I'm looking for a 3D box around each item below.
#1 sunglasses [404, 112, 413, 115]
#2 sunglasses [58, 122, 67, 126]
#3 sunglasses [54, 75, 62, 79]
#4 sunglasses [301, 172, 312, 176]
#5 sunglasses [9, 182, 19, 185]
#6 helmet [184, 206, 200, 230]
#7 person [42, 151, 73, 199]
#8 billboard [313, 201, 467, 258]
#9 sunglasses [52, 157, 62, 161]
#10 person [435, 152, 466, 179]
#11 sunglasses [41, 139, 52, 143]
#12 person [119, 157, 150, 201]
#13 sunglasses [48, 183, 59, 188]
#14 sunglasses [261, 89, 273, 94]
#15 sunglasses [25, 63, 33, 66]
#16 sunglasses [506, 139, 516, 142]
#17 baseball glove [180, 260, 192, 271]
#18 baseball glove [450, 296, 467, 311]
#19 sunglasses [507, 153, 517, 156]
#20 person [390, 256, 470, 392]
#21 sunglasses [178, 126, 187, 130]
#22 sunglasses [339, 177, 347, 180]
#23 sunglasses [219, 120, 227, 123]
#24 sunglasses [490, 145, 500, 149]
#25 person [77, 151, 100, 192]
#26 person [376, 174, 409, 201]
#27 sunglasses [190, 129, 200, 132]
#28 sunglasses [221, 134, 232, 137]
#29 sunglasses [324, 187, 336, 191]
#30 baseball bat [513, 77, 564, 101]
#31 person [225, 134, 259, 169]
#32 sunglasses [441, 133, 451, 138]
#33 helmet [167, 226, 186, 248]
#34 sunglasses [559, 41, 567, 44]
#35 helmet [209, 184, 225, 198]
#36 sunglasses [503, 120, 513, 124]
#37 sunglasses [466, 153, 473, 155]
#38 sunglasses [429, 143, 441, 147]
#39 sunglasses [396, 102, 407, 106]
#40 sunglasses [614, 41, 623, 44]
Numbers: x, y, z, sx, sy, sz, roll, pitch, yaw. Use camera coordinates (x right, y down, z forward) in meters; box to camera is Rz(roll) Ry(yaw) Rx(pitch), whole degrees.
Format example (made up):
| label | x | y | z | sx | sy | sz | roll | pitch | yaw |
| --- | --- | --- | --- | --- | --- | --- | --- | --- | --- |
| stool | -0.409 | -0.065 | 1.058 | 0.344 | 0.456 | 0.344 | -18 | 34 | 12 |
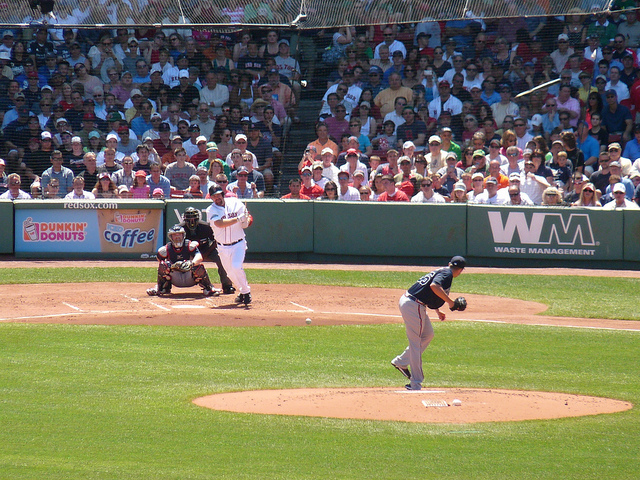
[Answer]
| label | x | y | z | sx | sy | sz | roll | pitch | yaw |
| --- | --- | --- | --- | --- | --- | --- | --- | --- | --- |
| sunglasses | 2.212 | -3.236 | 36.292 | 0.205 | 0.054 | 0.060 | 1 | 3 | -15 |
| sunglasses | -6.704 | -3.008 | 36.842 | 0.219 | 0.086 | 0.115 | 1 | 3 | 0 |
| sunglasses | -7.058 | -4.390 | 38.224 | 0.197 | 0.093 | 0.089 | 1 | 3 | -10 |
| sunglasses | -0.368 | -1.598 | 34.920 | 0.199 | 0.111 | 0.101 | 1 | 3 | -1 |
| sunglasses | -7.532 | -1.384 | 34.985 | 0.209 | 0.050 | 0.063 | 1 | 3 | -15 |
| helmet | -2.846 | -0.466 | 31.243 | 0.322 | 0.436 | 0.438 | -2 | 5 | -4 |
| person | -6.546 | -1.342 | 35.447 | 0.751 | 1.632 | 0.470 | -2 | -18 | -11 |
| billboard | 1.764 | -0.259 | 34.435 | 3.502 | 1.302 | 0.272 | 2 | 4 | 5 |
| sunglasses | -6.552 | -2.012 | 35.399 | 0.222 | 0.082 | 0.101 | -1 | 4 | -39 |
| person | 3.111 | -1.817 | 34.895 | 0.669 | 0.801 | 0.286 | -1 | -26 | 10 |
| sunglasses | -7.035 | -2.556 | 36.565 | 0.259 | 0.071 | 0.126 | 0 | 3 | -18 |
| person | -4.684 | -1.530 | 35.087 | 0.739 | 1.002 | 0.804 | -1 | 4 | -33 |
| sunglasses | -6.575 | -1.336 | 35.167 | 0.134 | 0.091 | 0.288 | 4 | 4 | 37 |
| sunglasses | -1.429 | -3.943 | 37.667 | 0.265 | 0.125 | 0.129 | 0 | 4 | -25 |
| sunglasses | -7.897 | -4.768 | 38.476 | 0.203 | 0.073 | 0.053 | 1 | 3 | -5 |
| sunglasses | 4.615 | -2.431 | 34.761 | 0.216 | 0.065 | 0.091 | 1 | 3 | -15 |
| baseball glove | -2.923 | 0.574 | 30.750 | 0.255 | 0.190 | 0.099 | 1 | 4 | -5 |
| baseball glove | 2.452 | 1.172 | 25.856 | 0.280 | 0.172 | 0.216 | -10 | 6 | 24 |
| sunglasses | 4.579 | -2.059 | 34.233 | 0.210 | 0.065 | 0.077 | 2 | 3 | 12 |
| person | 1.904 | 1.543 | 26.154 | 1.212 | 2.467 | 0.874 | 2 | 4 | 4 |
| sunglasses | -3.583 | -2.906 | 36.800 | 0.241 | 0.084 | 0.048 | 3 | 4 | 30 |
| sunglasses | 0.523 | -1.493 | 34.632 | 0.183 | 0.050 | 0.065 | 1 | 3 | 0 |
| sunglasses | -2.560 | -3.102 | 37.110 | 0.199 | 0.068 | 0.065 | 1 | 3 | 0 |
| sunglasses | 4.182 | -2.246 | 34.346 | 0.227 | 0.090 | 0.117 | 1 | 3 | -7 |
| person | -5.769 | -1.673 | 35.258 | 0.527 | 0.959 | 0.716 | 2 | 3 | 7 |
| person | 1.717 | -1.192 | 34.805 | 0.986 | 0.757 | 0.564 | -1 | 1 | 22 |
| sunglasses | -3.260 | -2.820 | 36.642 | 0.241 | 0.071 | 0.106 | 0 | 3 | -19 |
| sunglasses | -2.389 | -2.694 | 36.681 | 0.072 | 0.072 | 0.233 | 4 | 4 | 39 |
| sunglasses | 0.204 | -1.227 | 34.633 | 0.268 | 0.093 | 0.094 | 2 | 3 | 12 |
| baseball bat | 5.503 | -3.831 | 36.160 | 1.279 | 0.131 | 0.127 | -27 | 24 | -6 |
| person | -1.994 | -2.237 | 35.824 | 0.854 | 0.878 | 1.490 | 1 | 3 | -3 |
| sunglasses | 3.121 | -2.588 | 35.352 | 0.240 | 0.083 | 0.128 | -1 | 4 | -43 |
| helmet | -3.154 | -0.058 | 31.055 | 0.380 | 0.436 | 0.436 | -2 | -3 | -7 |
| sunglasses | 6.206 | -5.124 | 36.757 | 0.160 | 0.067 | 0.043 | 2 | 4 | 8 |
| helmet | -2.210 | -1.020 | 29.947 | 0.292 | 0.236 | 0.259 | 1 | 3 | -4 |
| sunglasses | 4.626 | -2.940 | 35.441 | 0.249 | 0.078 | 0.105 | 2 | 3 | 15 |
| sunglasses | 3.605 | -2.107 | 34.768 | 0.061 | 0.032 | 0.218 | -1 | 4 | -39 |
| sunglasses | 2.759 | -2.332 | 34.913 | 0.216 | 0.090 | 0.086 | 2 | 3 | 6 |
| sunglasses | 2.034 | -3.490 | 36.449 | 0.245 | 0.080 | 0.084 | 1 | 3 | -9 |
| sunglasses | 7.556 | -5.068 | 36.358 | 0.186 | 0.066 | 0.052 | 2 | 3 | 8 |
